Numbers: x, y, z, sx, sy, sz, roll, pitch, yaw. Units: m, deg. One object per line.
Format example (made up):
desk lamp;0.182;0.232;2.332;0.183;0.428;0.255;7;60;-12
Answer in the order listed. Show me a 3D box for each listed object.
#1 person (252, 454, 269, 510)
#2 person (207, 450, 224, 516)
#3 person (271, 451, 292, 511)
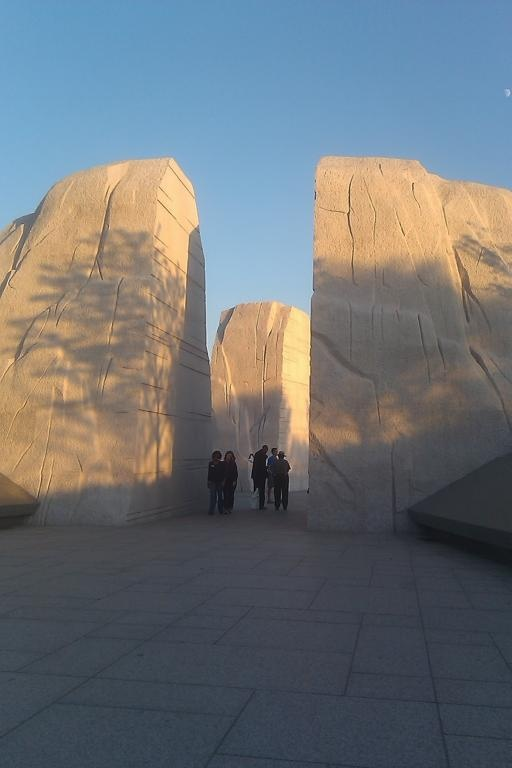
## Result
person;0.079;1.939;12.126;0.314;1.212;0.724;-1;-8;0
person;-0.735;1.821;10.914;0.281;1.123;0.965;0;-9;-5
person;0.503;1.834;11.844;0.386;1.318;0.376;-3;21;0
